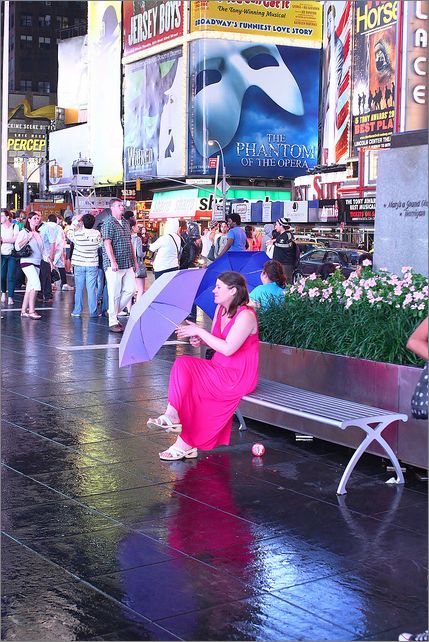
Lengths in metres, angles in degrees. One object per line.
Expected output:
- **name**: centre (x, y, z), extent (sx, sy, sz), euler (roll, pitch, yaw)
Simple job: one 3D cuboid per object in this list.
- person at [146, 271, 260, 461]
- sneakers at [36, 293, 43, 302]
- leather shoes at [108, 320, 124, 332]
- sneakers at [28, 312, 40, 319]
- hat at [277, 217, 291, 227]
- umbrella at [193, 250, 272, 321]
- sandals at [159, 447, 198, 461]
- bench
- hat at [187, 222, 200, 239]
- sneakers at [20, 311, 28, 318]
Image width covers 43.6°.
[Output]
- **person**: centre (-0.038, 0.398, 4.598), extent (0.812, 1.302, 0.534), euler (2, -1, 3)
- **sneakers**: centre (-5.877, -0.774, 18.053), extent (0.221, 0.326, 0.287), euler (-4, -6, -9)
- **leather shoes**: centre (-2.233, 0.157, 12.220), extent (0.169, 0.154, 0.350), euler (1, 4, -33)
- **sneakers**: centre (-4.589, -0.133, 13.671), extent (0.141, 0.159, 0.349), euler (-5, 9, -41)
- **hat**: centre (1.752, -2.473, 13.601), extent (0.274, 0.317, 0.111), euler (-14, 4, -9)
- **umbrella**: centre (0.120, -0.428, 6.186), extent (0.554, 0.839, 0.849), euler (25, 14, 27)
- **sandals**: centre (-0.296, 1.125, 4.577), extent (0.290, 0.100, 0.124), euler (5, -11, -30)
- **bench**: centre (0.840, 0.935, 4.368), extent (0.700, 0.518, 1.352), euler (3, -2, -30)
- **hat**: centre (-0.572, -2.471, 14.780), extent (0.383, 0.472, 0.273), euler (23, 37, 39)
- **sneakers**: centre (-4.918, -0.166, 13.908), extent (0.133, 0.165, 0.121), euler (-1, 46, 7)
